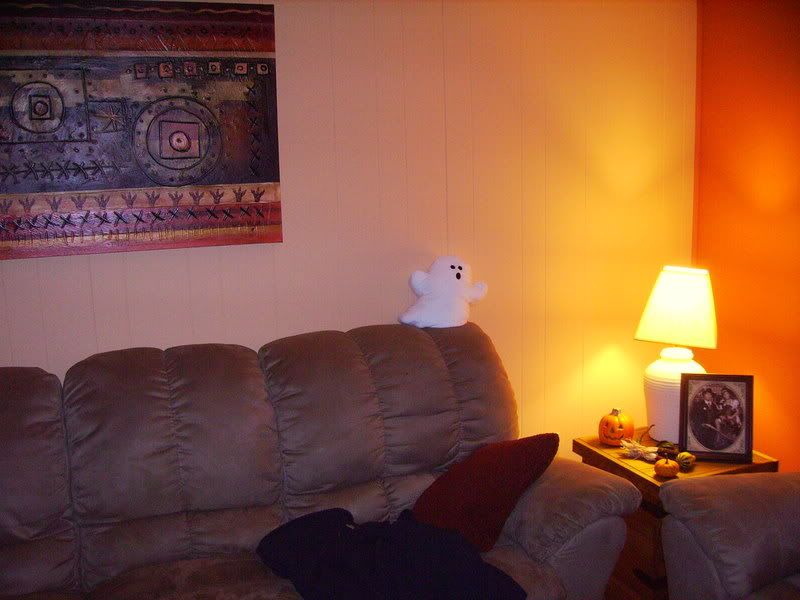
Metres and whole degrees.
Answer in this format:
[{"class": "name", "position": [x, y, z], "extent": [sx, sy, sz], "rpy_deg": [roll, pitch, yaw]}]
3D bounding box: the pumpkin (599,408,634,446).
[{"class": "pumpkin", "position": [0.946, 0.557, 3.060], "extent": [0.149, 0.169, 0.140], "rpy_deg": [9, -12, -37]}]

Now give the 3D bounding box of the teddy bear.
[{"class": "teddy bear", "position": [0.187, -0.038, 2.958], "extent": [0.223, 0.284, 0.326], "rpy_deg": [3, 6, 45]}]

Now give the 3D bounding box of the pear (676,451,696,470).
[{"class": "pear", "position": [1.184, 0.653, 2.866], "extent": [0.065, 0.058, 0.122], "rpy_deg": [2, 5, 39]}]
